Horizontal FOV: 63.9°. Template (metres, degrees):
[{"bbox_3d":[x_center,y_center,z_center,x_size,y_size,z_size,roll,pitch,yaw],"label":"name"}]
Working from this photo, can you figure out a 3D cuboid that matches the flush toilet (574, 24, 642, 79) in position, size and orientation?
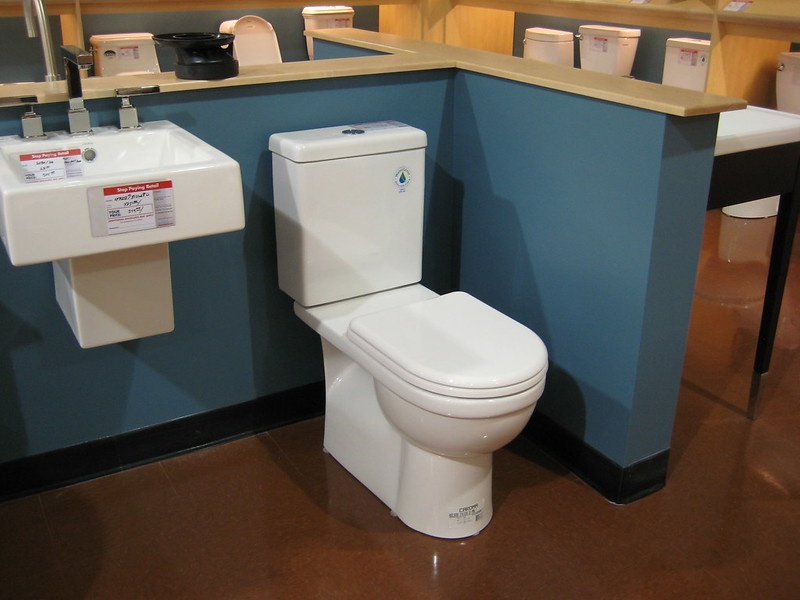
[{"bbox_3d":[1.593,-1.908,4.936,0.280,0.345,0.447,-13,31,-20],"label":"flush toilet"}]

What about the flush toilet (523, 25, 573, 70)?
[{"bbox_3d":[1.208,-2.082,5.320,0.222,0.313,0.373,-31,42,-32],"label":"flush toilet"}]

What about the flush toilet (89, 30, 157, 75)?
[{"bbox_3d":[-1.888,-1.657,4.502,0.424,0.309,0.237,-9,13,-17],"label":"flush toilet"}]

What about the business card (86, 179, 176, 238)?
[{"bbox_3d":[-0.674,-0.230,1.583,0.141,0.087,0.015,-13,28,-28],"label":"business card"}]

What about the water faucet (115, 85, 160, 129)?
[{"bbox_3d":[-0.795,-0.582,1.928,0.112,0.108,0.040,-22,37,-35],"label":"water faucet"}]

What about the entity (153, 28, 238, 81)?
[{"bbox_3d":[-0.657,-0.786,2.049,0.198,0.092,0.192,13,28,25],"label":"entity"}]

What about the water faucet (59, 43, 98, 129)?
[{"bbox_3d":[-0.924,-0.600,1.837,0.098,0.227,0.205,-17,32,-26],"label":"water faucet"}]

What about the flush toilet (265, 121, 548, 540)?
[{"bbox_3d":[0.038,0.084,2.063,0.529,1.140,1.009,-14,25,-31],"label":"flush toilet"}]
